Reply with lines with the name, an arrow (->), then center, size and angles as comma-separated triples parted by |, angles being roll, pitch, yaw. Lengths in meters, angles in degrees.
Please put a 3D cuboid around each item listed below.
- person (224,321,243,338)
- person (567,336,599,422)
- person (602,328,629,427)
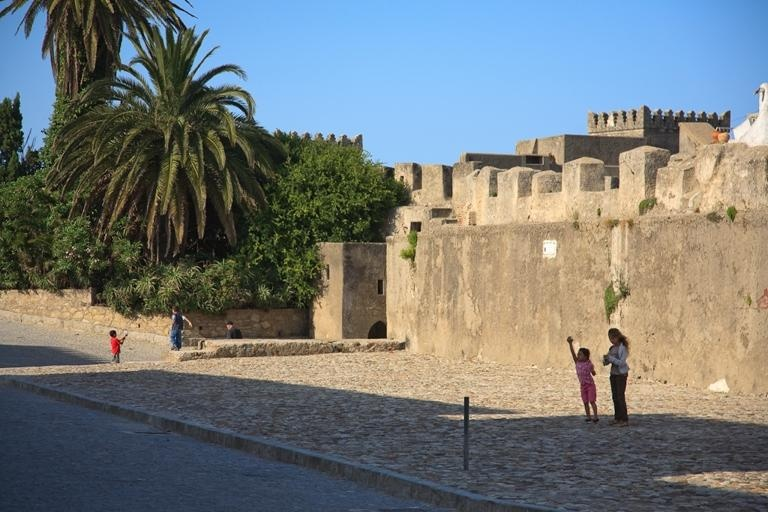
person -> -4.735, 2.268, 35.515 | 0.426, 0.792, 0.391 | -12, 10, -35
person -> 4.101, 2.495, 23.402 | 0.643, 1.661, 1.099 | 1, 12, 10
person -> 4.712, 2.393, 23.026 | 0.511, 1.856, 0.939 | 2, 12, 12
